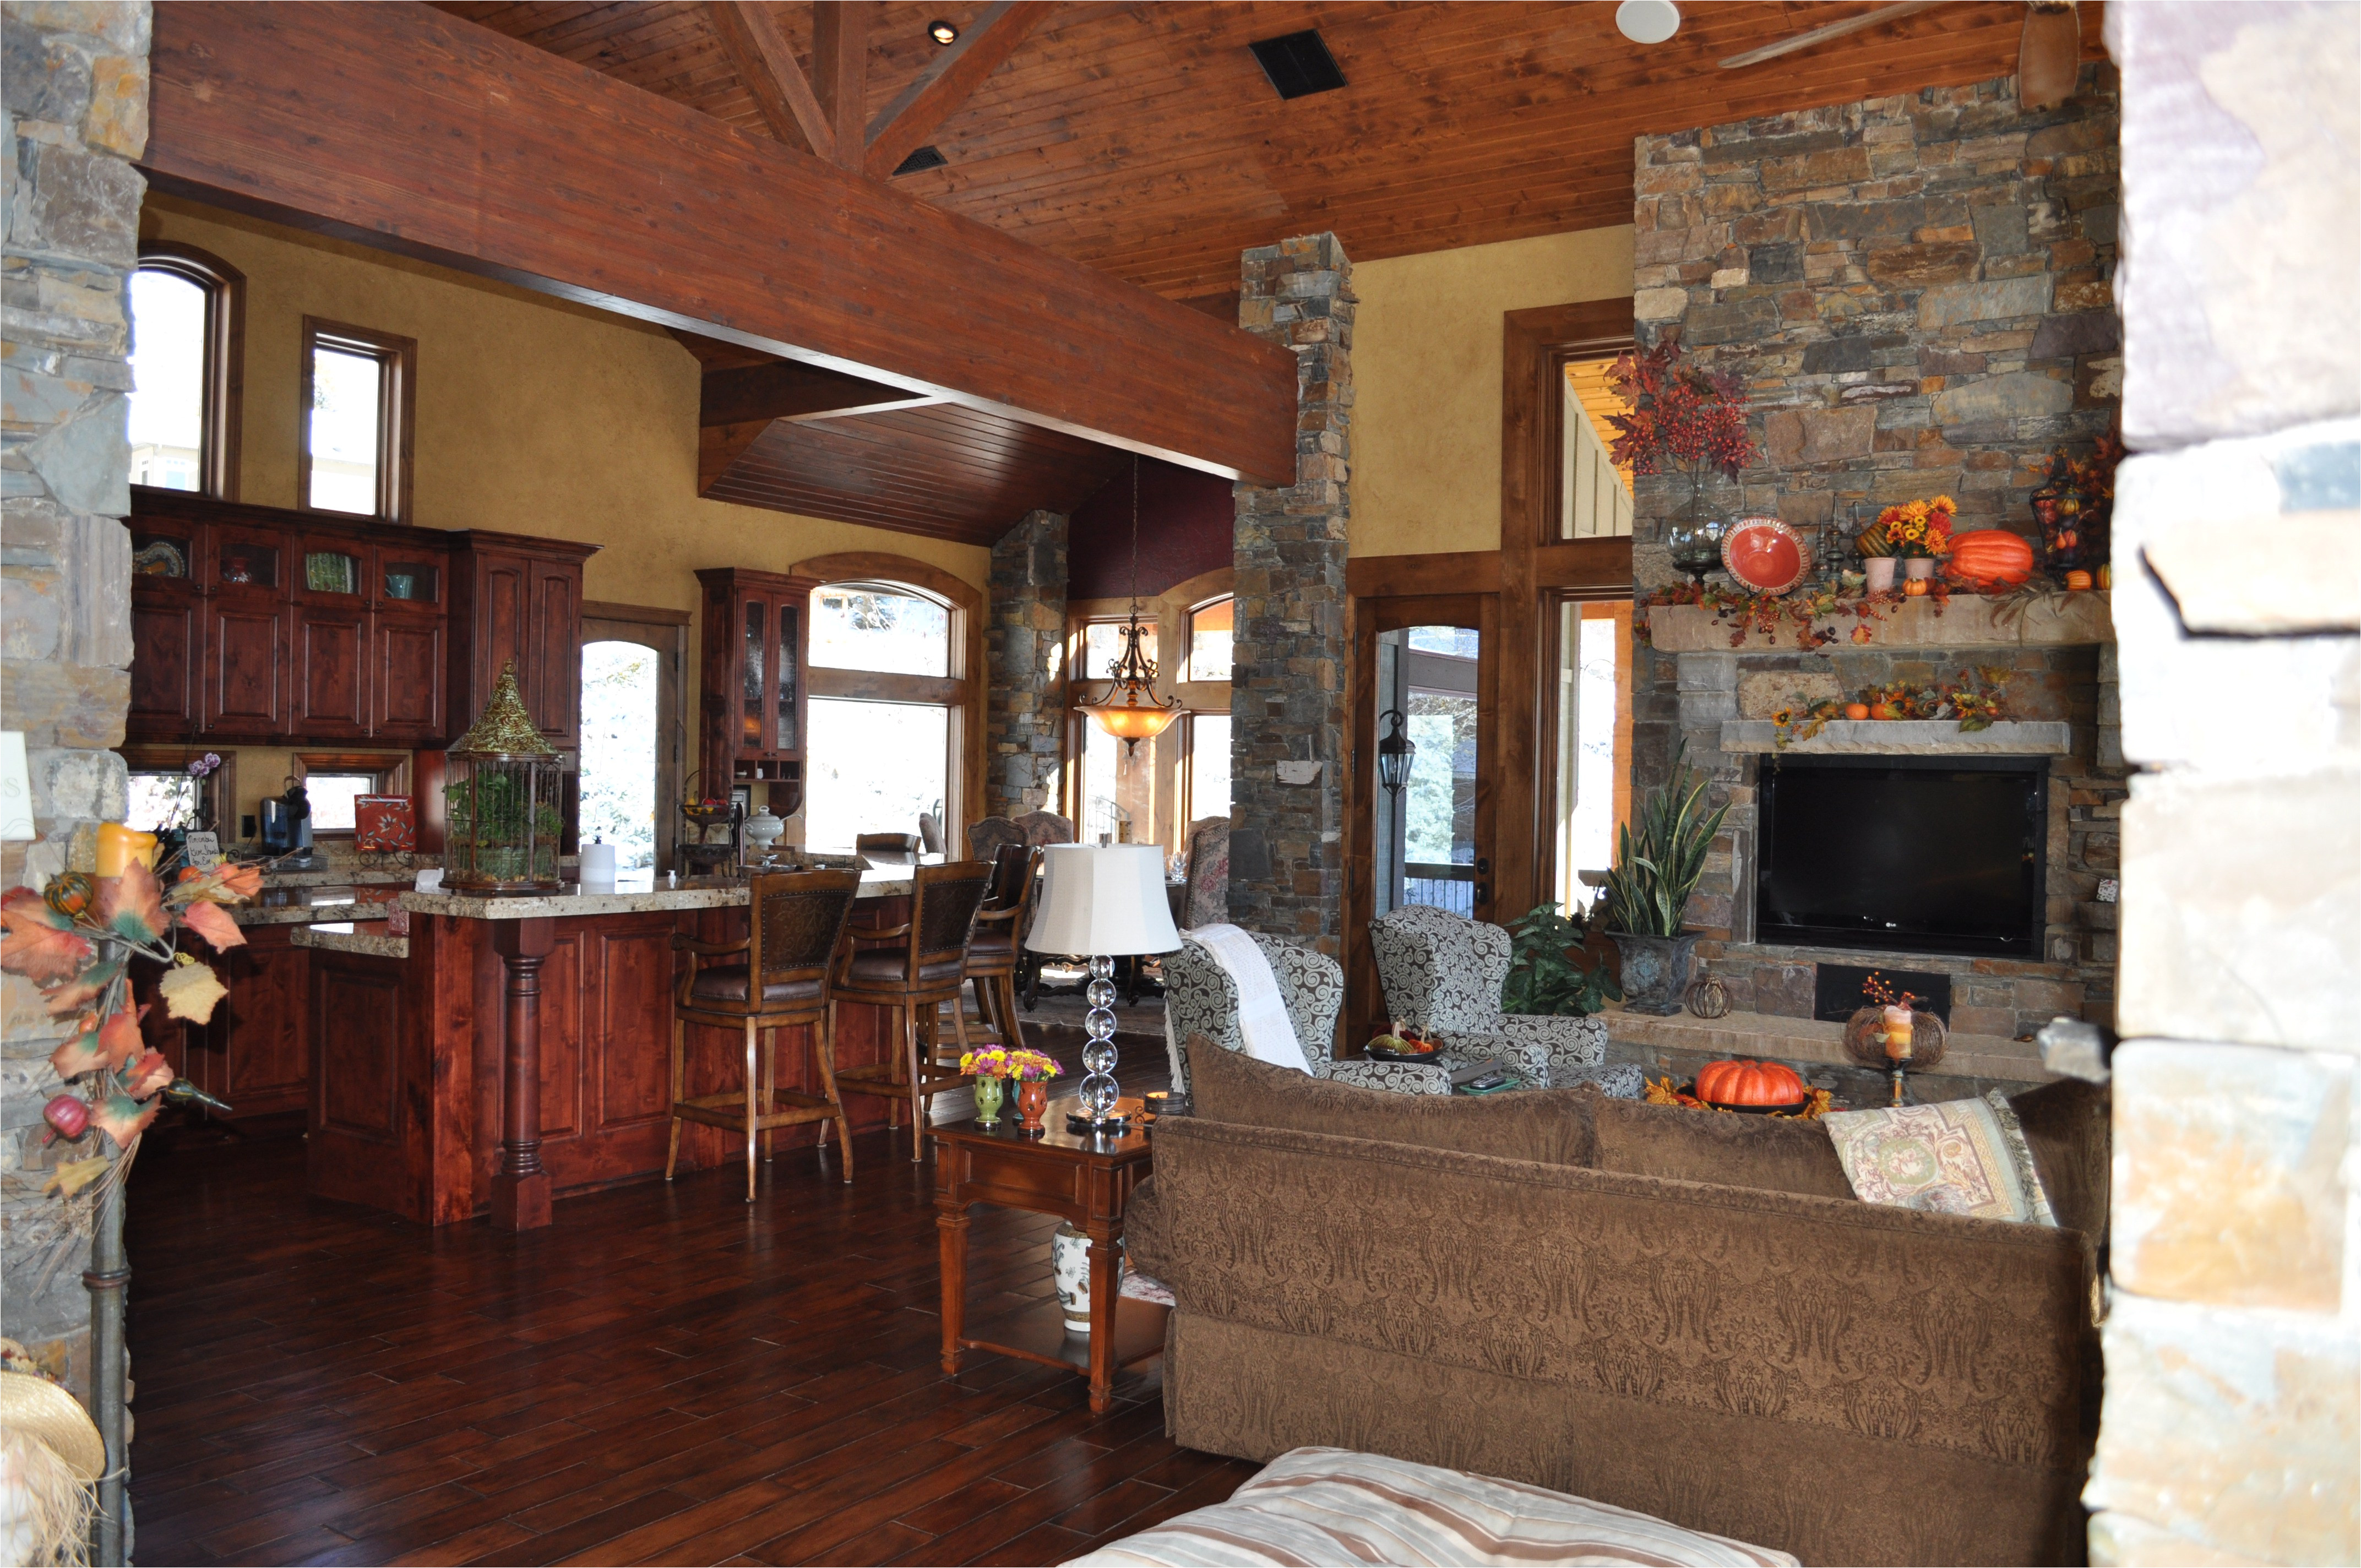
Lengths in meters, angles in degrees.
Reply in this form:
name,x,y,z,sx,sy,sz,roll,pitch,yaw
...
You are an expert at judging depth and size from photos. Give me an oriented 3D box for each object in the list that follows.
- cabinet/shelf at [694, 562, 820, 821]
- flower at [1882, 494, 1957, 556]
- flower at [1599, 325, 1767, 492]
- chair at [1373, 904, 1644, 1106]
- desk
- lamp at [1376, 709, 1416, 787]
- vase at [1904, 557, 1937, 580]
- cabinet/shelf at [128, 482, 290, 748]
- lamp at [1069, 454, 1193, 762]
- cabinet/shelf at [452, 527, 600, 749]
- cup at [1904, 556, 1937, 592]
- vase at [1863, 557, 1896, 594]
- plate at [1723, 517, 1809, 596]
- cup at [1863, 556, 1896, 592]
name,x,y,z,sx,sy,sz,roll,pitch,yaw
cabinet/shelf,-2.660,-0.616,10.551,0.662,1.430,0.535,1,5,-15
flower,3.067,-1.084,7.138,0.159,0.233,0.325,15,-1,39
flower,2.266,-1.689,7.755,0.697,0.611,0.374,0,-7,23
chair,1.327,1.026,7.024,0.921,0.932,0.748,4,2,39
desk,-0.446,1.202,4.739,0.720,0.773,0.904,0,-1,21
lamp,1.194,-0.196,9.512,0.209,0.425,0.136,2,5,6
vase,3.063,-0.894,7.062,0.098,0.066,0.096,3,4,26
cabinet/shelf,-4.591,-0.744,8.042,0.409,0.913,0.887,8,8,41
lamp,-0.288,-1.012,10.384,0.624,1.551,0.546,0,7,-8
cabinet/shelf,-3.530,-0.758,9.075,0.236,1.137,0.717,6,6,40
cup,3.072,-0.867,7.082,0.132,0.148,0.076,3,5,11
vase,2.929,-0.878,7.130,0.153,0.143,0.138,0,2,-2
plate,2.548,-0.989,7.423,0.362,0.316,0.208,3,5,12
cup,2.931,-0.879,7.151,0.164,0.148,0.149,0,2,0
